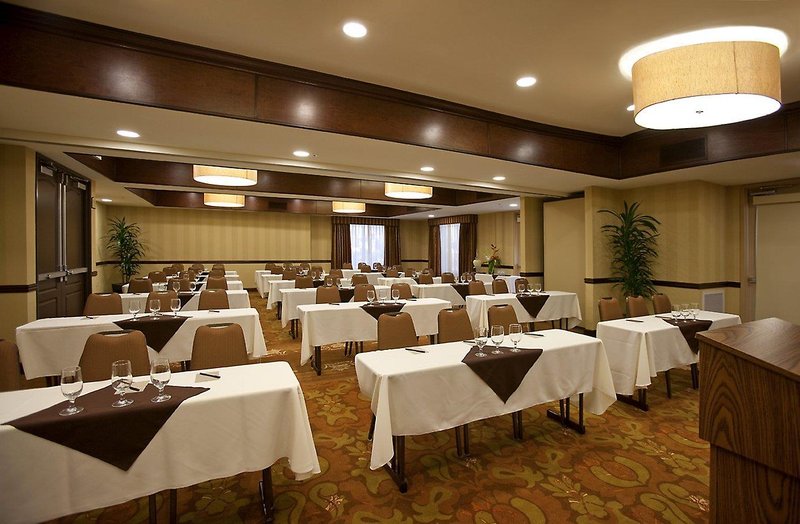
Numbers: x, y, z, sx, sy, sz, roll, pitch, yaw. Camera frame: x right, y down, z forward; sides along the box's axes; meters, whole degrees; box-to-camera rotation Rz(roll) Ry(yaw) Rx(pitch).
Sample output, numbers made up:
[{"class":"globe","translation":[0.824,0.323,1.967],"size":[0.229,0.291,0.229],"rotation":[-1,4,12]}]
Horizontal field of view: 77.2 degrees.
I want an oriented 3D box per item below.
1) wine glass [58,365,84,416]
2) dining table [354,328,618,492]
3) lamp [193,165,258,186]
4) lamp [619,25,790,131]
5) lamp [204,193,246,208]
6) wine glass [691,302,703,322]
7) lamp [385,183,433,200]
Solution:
[{"class":"wine glass","translation":[-2.617,1.008,3.992],"size":[0.145,0.351,0.327],"rotation":[1,-2,-33]},{"class":"dining table","translation":[0.870,1.261,5.007],"size":[2.588,1.066,0.688],"rotation":[1,-2,-18]},{"class":"lamp","translation":[-3.017,-1.522,8.617],"size":[0.853,0.236,0.996],"rotation":[0,-2,-1]},{"class":"lamp","translation":[3.222,-1.852,5.337],"size":[1.432,0.572,1.479],"rotation":[2,-1,39]},{"class":"lamp","translation":[-3.925,-1.412,11.148],"size":[0.518,0.327,1.262],"rotation":[2,-3,-40]},{"class":"wine glass","translation":[3.831,0.643,6.456],"size":[0.169,0.279,0.173],"rotation":[-1,-5,9]},{"class":"lamp","translation":[0.148,-1.466,10.231],"size":[0.778,0.238,0.796],"rotation":[2,-3,-43]}]
